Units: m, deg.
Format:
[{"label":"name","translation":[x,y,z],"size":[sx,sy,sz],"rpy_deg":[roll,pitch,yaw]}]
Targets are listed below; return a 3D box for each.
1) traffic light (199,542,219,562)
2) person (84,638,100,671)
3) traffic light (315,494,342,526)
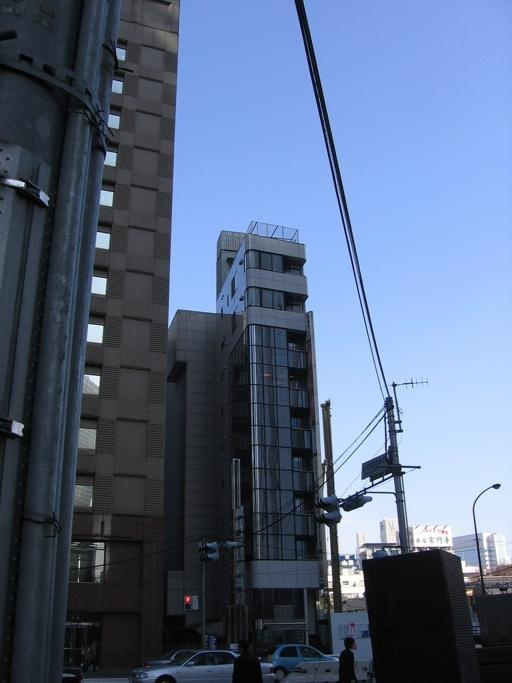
[{"label":"traffic light","translation":[-2.445,10.884,32.409],"size":[0.896,0.981,3.913],"rpy_deg":[0,-22,-6]},{"label":"person","translation":[-9.020,17.111,34.152],"size":[0.772,1.446,0.450],"rpy_deg":[3,-21,-14]},{"label":"traffic light","translation":[2.465,5.702,21.364],"size":[0.799,1.009,2.931],"rpy_deg":[-4,-22,4]}]
